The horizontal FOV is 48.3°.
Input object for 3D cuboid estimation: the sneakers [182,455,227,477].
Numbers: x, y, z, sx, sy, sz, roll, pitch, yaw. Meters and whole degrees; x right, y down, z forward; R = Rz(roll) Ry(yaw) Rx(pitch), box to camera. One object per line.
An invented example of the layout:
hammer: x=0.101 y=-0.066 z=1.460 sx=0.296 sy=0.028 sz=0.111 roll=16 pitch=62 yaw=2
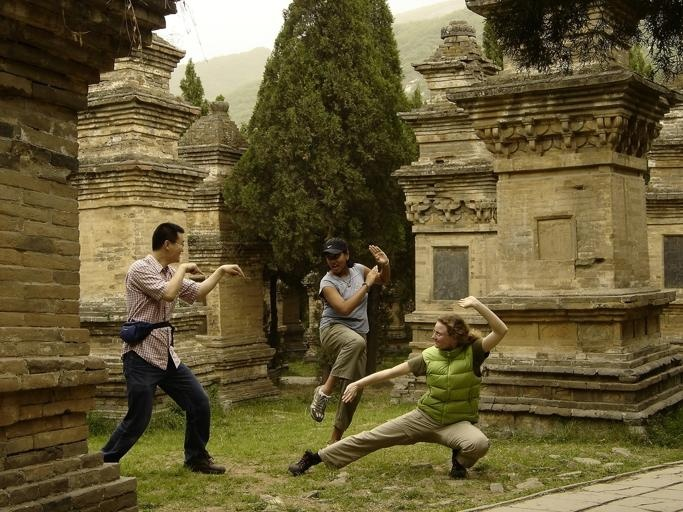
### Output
sneakers: x=-1.458 y=2.244 z=8.090 sx=0.485 sy=0.223 sz=0.167 roll=-1 pitch=-1 yaw=7

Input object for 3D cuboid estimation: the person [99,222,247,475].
person: x=-1.789 y=0.975 z=7.700 sx=0.704 sy=2.624 sz=1.152 roll=-4 pitch=-5 yaw=28

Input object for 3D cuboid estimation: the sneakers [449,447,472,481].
sneakers: x=1.244 y=2.144 z=7.642 sx=0.312 sy=0.287 sz=0.148 roll=0 pitch=-2 yaw=13

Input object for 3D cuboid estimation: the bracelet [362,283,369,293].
bracelet: x=0.263 y=0.342 z=8.404 sx=0.065 sy=0.075 sz=0.082 roll=12 pitch=-6 yaw=-12

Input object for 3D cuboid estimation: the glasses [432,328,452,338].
glasses: x=1.012 y=0.765 z=7.690 sx=0.155 sy=0.130 sz=0.112 roll=8 pitch=8 yaw=-3

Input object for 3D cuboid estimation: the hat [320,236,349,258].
hat: x=-0.073 y=-0.098 z=8.544 sx=0.270 sy=0.212 sz=0.366 roll=-2 pitch=-4 yaw=-2

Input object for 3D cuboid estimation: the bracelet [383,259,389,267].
bracelet: x=0.498 y=0.084 z=8.484 sx=0.061 sy=0.056 sz=0.059 roll=1 pitch=-1 yaw=6
